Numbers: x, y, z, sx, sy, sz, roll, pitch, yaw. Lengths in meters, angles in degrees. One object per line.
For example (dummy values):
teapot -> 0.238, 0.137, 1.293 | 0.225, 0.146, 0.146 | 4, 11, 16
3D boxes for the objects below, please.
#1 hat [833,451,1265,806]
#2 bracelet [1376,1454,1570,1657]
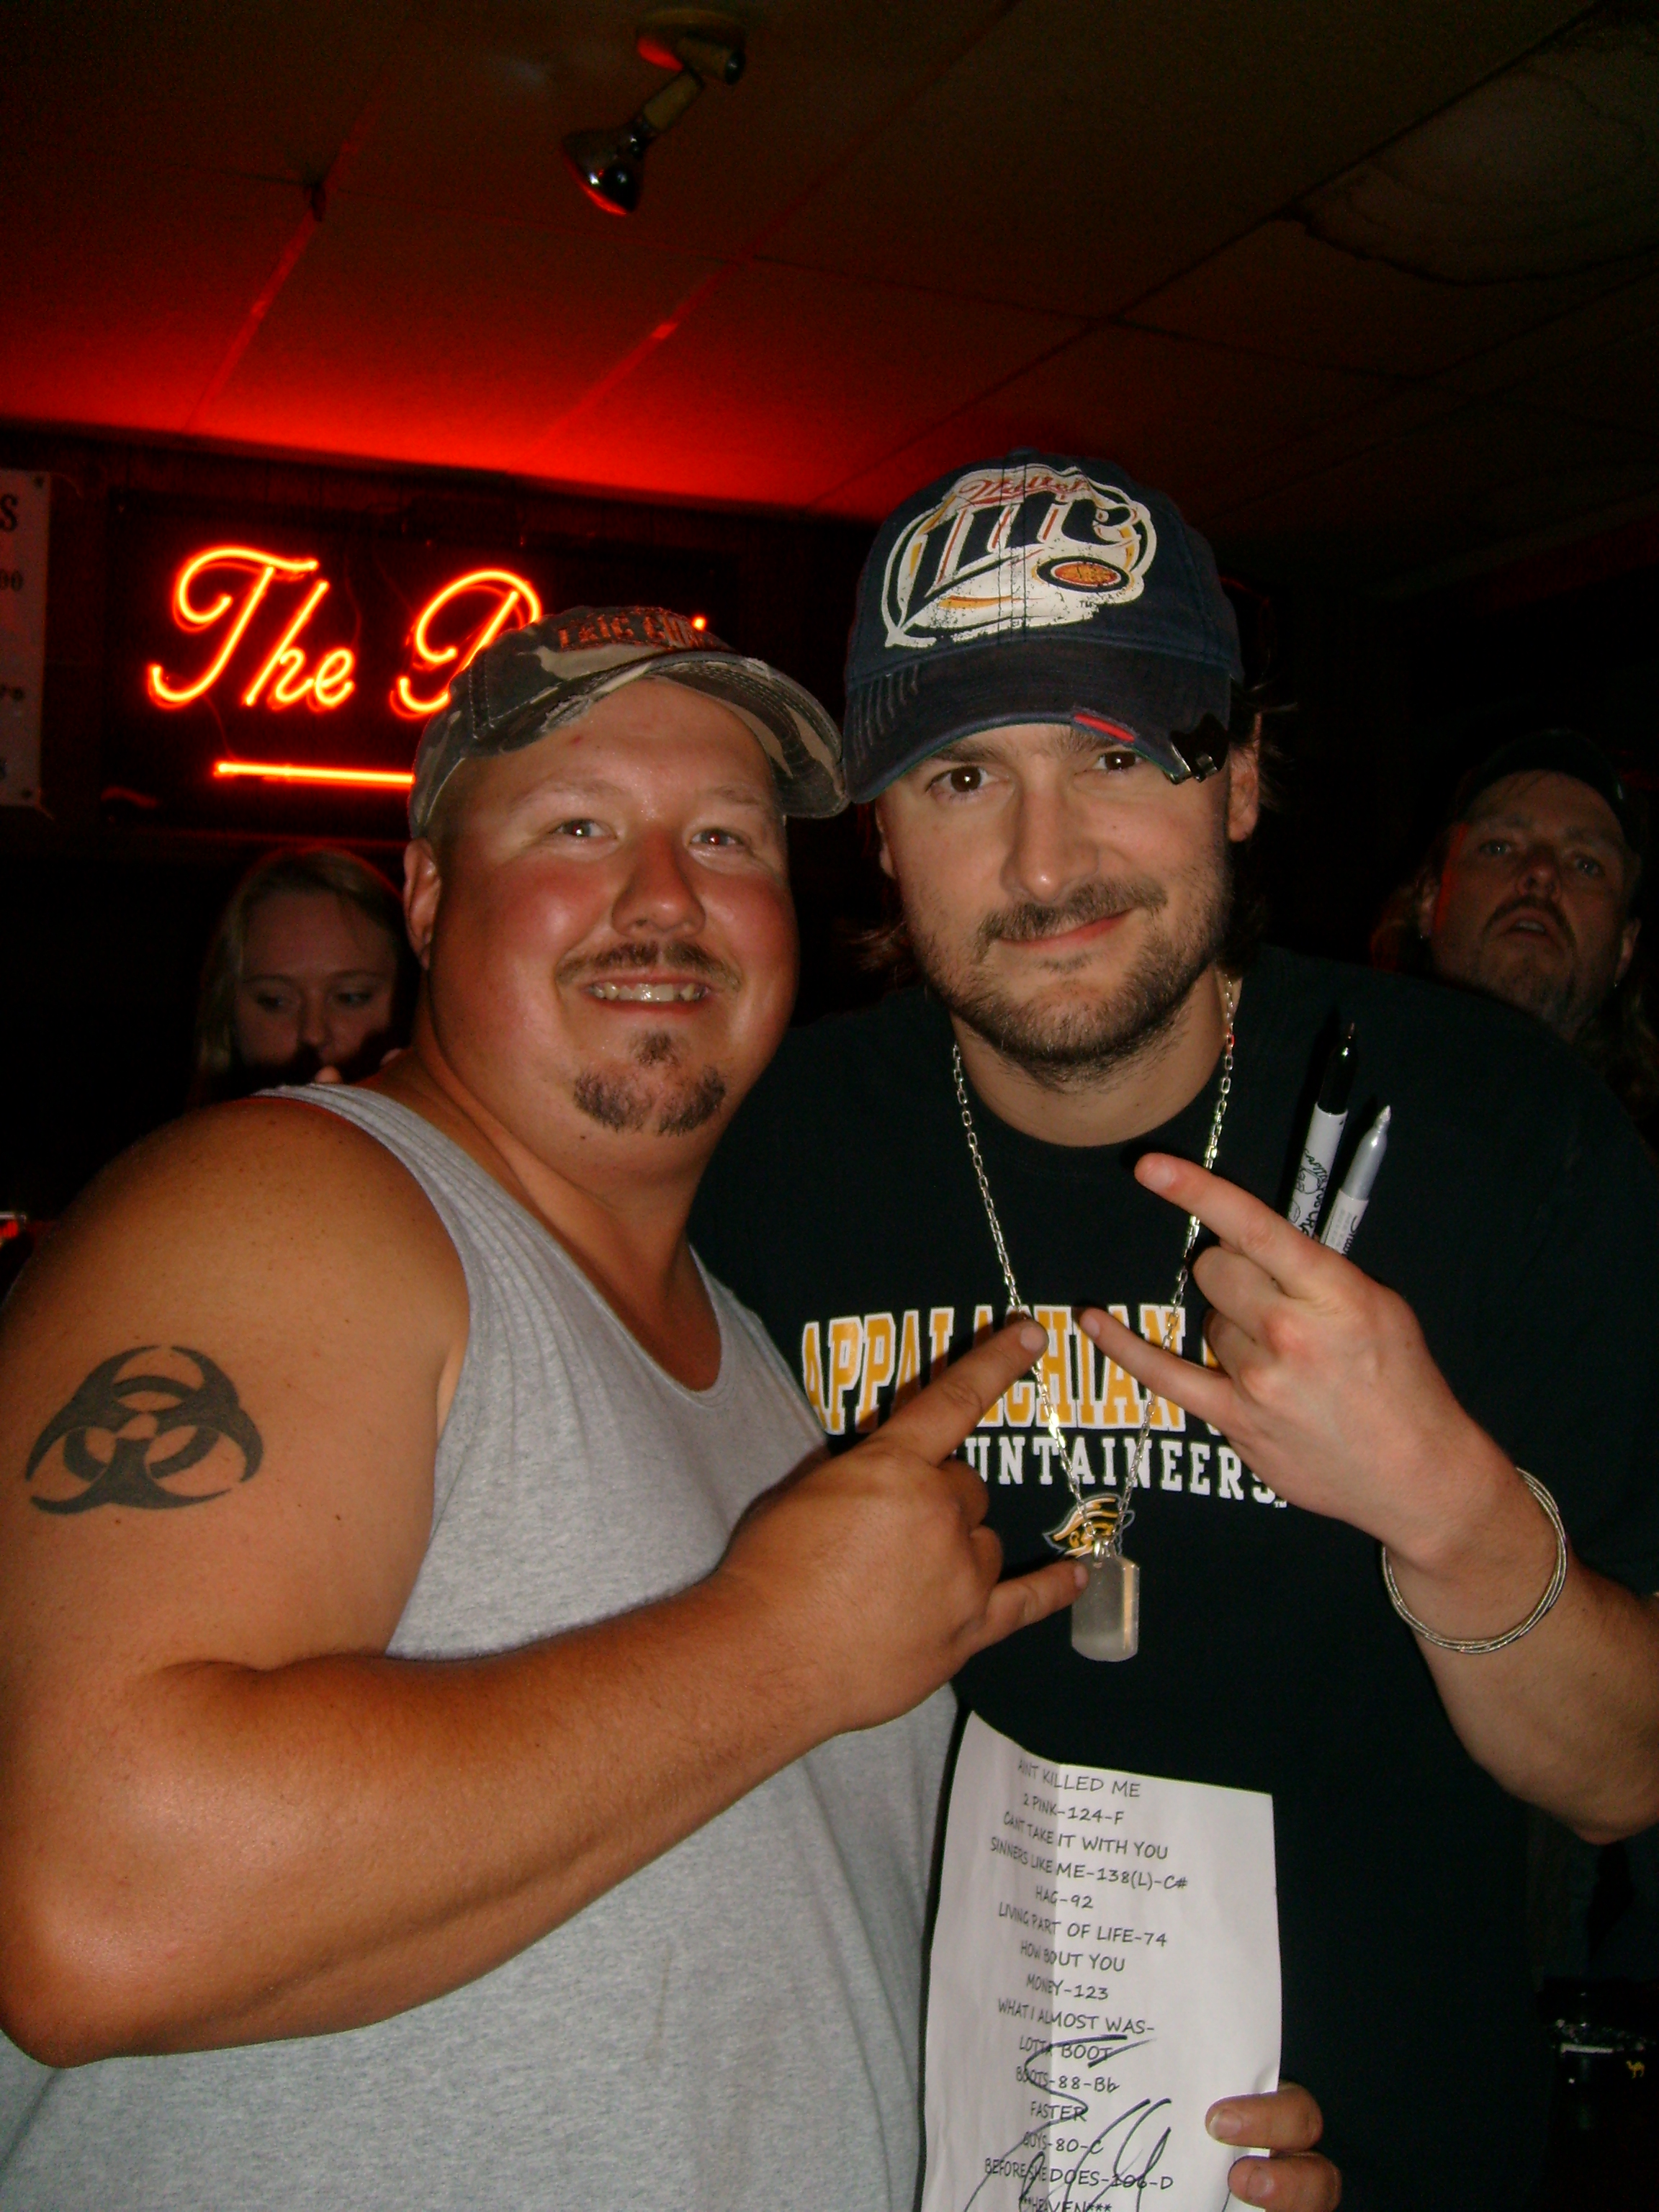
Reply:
hat -> 0.213, -0.494, 2.024 | 0.336, 0.227, 0.431 | -1, 17, 12
bracelet -> 0.577, 0.379, 1.698 | 0.175, 0.153, 0.044 | 0, -9, 22
